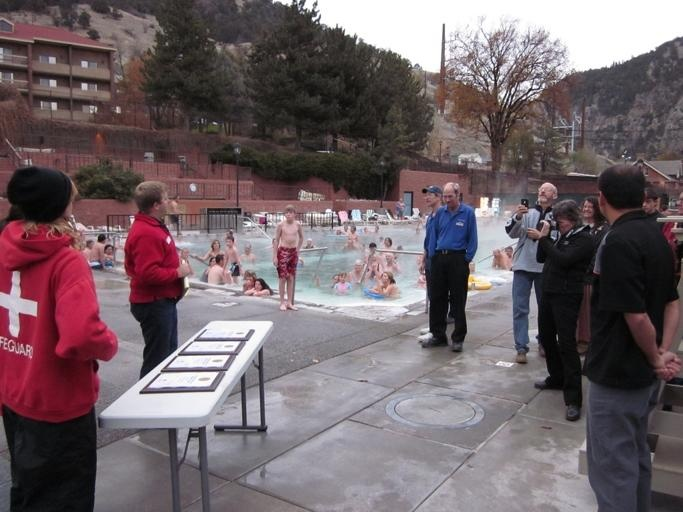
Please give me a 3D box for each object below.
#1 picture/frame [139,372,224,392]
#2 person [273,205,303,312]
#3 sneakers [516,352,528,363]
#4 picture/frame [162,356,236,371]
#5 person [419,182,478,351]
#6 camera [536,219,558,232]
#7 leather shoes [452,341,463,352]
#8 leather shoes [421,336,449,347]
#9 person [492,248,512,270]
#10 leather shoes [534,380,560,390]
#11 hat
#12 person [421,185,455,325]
[{"bbox_3d":[-1.086,0.878,4.157,0.525,0.081,0.311,1,7,9],"label":"picture/frame"},{"bbox_3d":[-0.934,0.023,10.370,0.473,1.800,1.169,-1,7,-6],"label":"person"},{"bbox_3d":[2.171,1.225,7.120,0.072,0.079,0.189,-4,-7,10],"label":"sneakers"},{"bbox_3d":[-1.043,0.803,4.425,0.358,0.038,0.400,3,5,29],"label":"picture/frame"},{"bbox_3d":[1.419,0.125,7.760,0.659,2.151,0.549,3,7,21],"label":"person"},{"bbox_3d":[2.220,-0.328,6.339,0.173,0.109,0.178,3,11,20],"label":"camera"},{"bbox_3d":[1.503,1.165,7.681,0.146,0.106,0.237,1,7,12],"label":"leather shoes"},{"bbox_3d":[1.240,1.138,7.843,0.333,0.140,0.130,2,2,-5],"label":"leather shoes"},{"bbox_3d":[4.606,0.086,16.931,0.362,0.531,0.917,-6,-7,3],"label":"person"},{"bbox_3d":[2.194,1.390,6.352,0.273,0.115,0.099,5,2,12],"label":"leather shoes"},{"bbox_3d":[-1.851,-0.388,3.745,0.383,0.345,0.303,-11,41,-32],"label":"hat"},{"bbox_3d":[1.352,-0.003,8.327,0.481,1.906,0.425,-9,4,13],"label":"person"}]
